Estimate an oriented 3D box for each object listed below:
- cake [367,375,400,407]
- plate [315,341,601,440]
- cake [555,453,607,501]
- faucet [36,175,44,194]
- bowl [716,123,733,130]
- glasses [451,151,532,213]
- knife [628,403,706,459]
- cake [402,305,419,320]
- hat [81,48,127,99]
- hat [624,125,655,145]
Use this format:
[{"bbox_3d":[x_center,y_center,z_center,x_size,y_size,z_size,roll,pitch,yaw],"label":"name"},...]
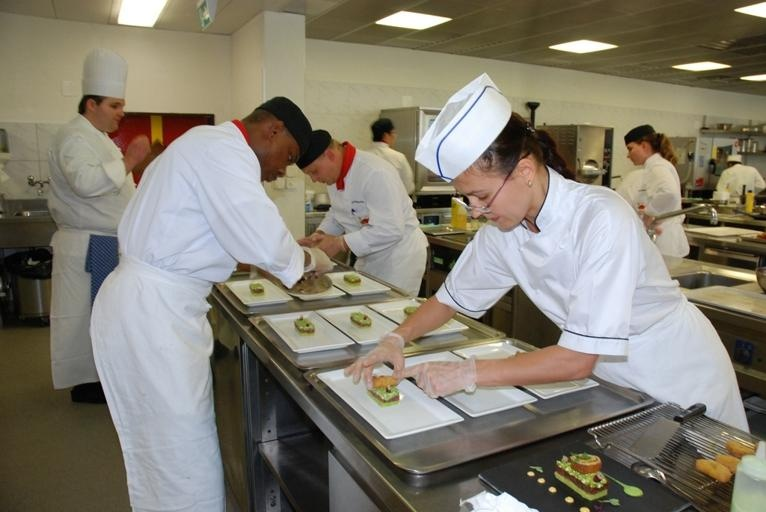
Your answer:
[{"bbox_3d":[0.015,0.477,1.747,0.072,0.052,0.110,-4,12,-24],"label":"cake"},{"bbox_3d":[0.239,0.478,1.843,0.909,0.102,0.401,-5,12,-19],"label":"plate"},{"bbox_3d":[0.577,0.626,1.439,0.085,0.086,0.133,-6,11,-27],"label":"cake"},{"bbox_3d":[-3.692,-0.761,5.366,0.097,0.184,0.071,-10,15,-37],"label":"faucet"},{"bbox_3d":[6.705,-2.549,9.705,0.243,0.119,0.324,1,8,9],"label":"bowl"},{"bbox_3d":[0.377,-0.258,1.668,0.154,0.040,0.142,-49,19,-19],"label":"glasses"},{"bbox_3d":[0.899,0.517,1.584,0.105,0.047,0.331,3,12,39],"label":"knife"},{"bbox_3d":[0.139,0.279,2.405,0.060,0.038,0.061,-1,4,-6],"label":"cake"},{"bbox_3d":[-2.009,-1.348,3.712,0.323,0.341,0.350,4,17,-7],"label":"hat"},{"bbox_3d":[2.571,-1.176,4.984,0.197,0.106,0.245,-27,7,-22],"label":"hat"}]
